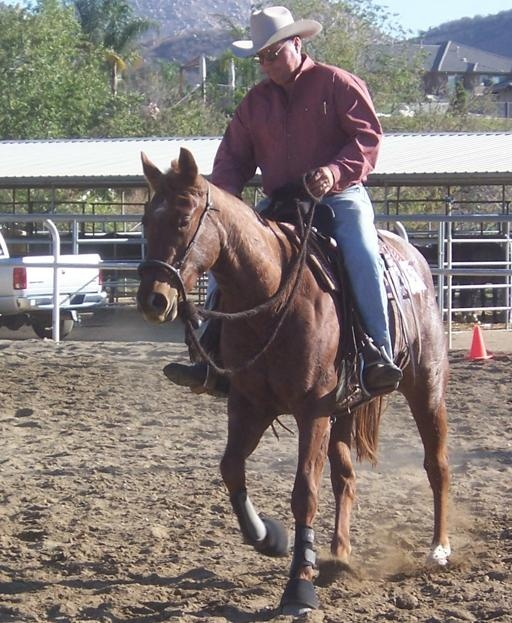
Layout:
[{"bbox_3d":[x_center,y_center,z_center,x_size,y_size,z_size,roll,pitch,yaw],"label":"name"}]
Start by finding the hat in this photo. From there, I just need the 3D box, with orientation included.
[{"bbox_3d":[0.115,-1.427,5.225,0.350,0.129,0.305,-22,7,-37],"label":"hat"}]

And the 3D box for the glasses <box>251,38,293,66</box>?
[{"bbox_3d":[0.076,-1.253,5.199,0.122,0.038,0.126,-20,20,43],"label":"glasses"}]

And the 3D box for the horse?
[{"bbox_3d":[0.302,0.289,5.156,0.943,2.116,1.948,6,11,33],"label":"horse"}]
